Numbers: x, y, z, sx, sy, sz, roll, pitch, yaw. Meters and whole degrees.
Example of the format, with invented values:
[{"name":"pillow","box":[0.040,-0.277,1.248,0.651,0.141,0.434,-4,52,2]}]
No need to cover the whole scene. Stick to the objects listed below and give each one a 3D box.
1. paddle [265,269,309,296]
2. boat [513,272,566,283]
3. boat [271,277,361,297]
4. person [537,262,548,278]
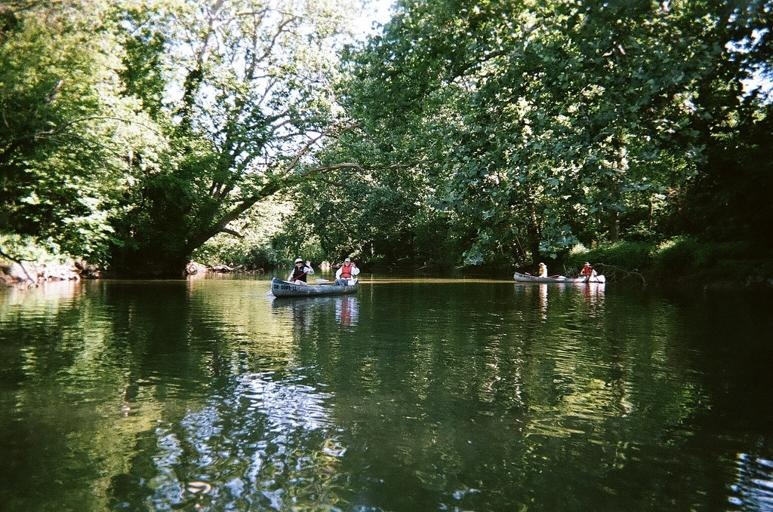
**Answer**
[{"name":"paddle","box":[-4.592,1.294,26.764,0.789,0.854,2.989,-1,1,23]},{"name":"boat","box":[10.976,1.602,39.922,3.923,0.743,1.113,3,-4,15]},{"name":"boat","box":[-3.663,1.608,28.022,1.318,1.001,6.567,1,-2,33]},{"name":"person","box":[11.278,1.055,41.202,0.586,0.834,0.888,-20,-29,19]}]
